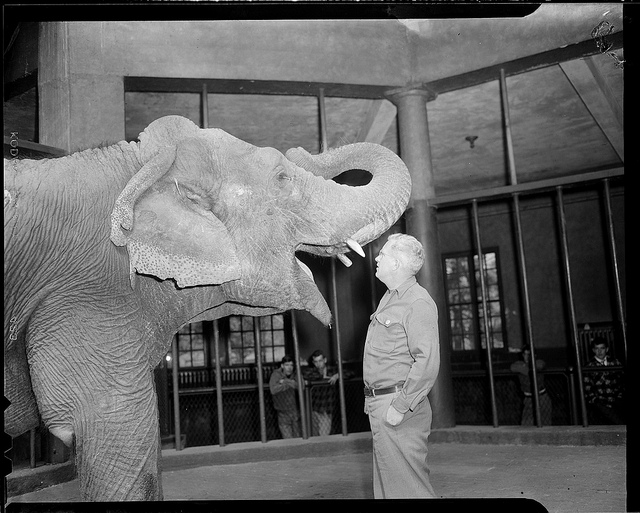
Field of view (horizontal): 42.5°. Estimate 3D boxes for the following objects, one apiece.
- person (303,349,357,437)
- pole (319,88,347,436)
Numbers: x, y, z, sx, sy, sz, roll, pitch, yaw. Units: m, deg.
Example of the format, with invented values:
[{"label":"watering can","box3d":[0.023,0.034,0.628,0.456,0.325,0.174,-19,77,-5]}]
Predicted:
[{"label":"person","box3d":[0.076,2.080,11.471,0.853,1.462,0.423,-1,3,-6]},{"label":"pole","box3d":[0.154,0.173,9.123,0.087,4.631,0.070,-1,-2,-32]}]
